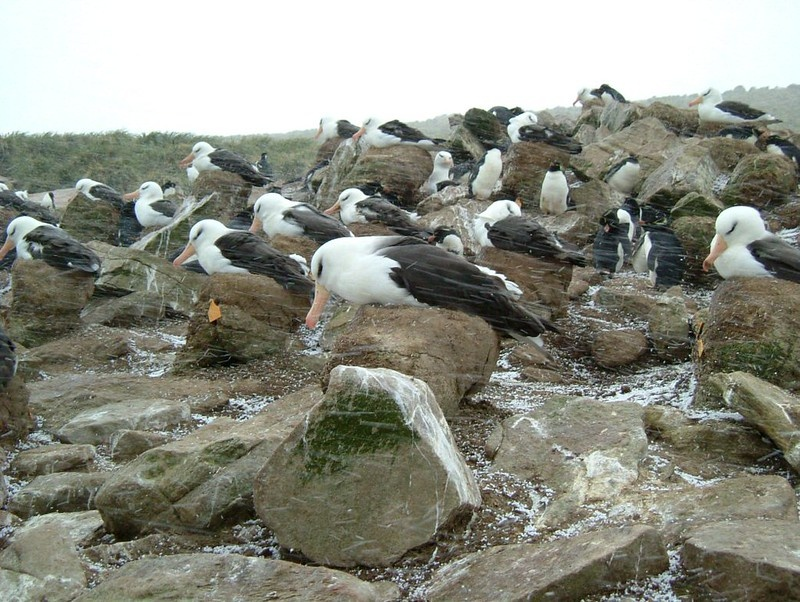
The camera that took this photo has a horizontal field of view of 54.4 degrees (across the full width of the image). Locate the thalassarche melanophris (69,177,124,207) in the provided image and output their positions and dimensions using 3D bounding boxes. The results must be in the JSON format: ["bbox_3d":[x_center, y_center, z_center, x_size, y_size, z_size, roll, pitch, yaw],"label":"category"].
[{"bbox_3d":[-7.390,-2.691,19.321,0.714,0.641,1.664,-4,10,-40],"label":"thalassarche melanophris"}]

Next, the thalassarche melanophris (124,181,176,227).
[{"bbox_3d":[-5.361,-2.110,17.131,0.863,1.006,1.398,2,9,-18],"label":"thalassarche melanophris"}]
